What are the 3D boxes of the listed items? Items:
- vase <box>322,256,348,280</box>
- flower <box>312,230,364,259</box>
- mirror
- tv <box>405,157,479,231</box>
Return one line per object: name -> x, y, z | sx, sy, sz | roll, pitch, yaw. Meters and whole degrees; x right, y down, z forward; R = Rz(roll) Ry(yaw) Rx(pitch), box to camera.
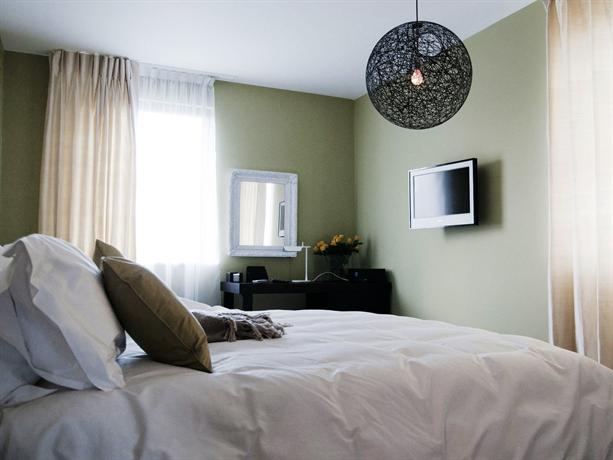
vase -> 0.314, 0.418, 5.589 | 0.218, 0.203, 0.213 | -4, -10, 21
flower -> 0.360, 0.169, 5.696 | 0.597, 0.244, 0.425 | 1, 1, -17
mirror -> -0.494, -0.160, 5.486 | 0.786, 1.134, 0.070 | 2, -5, -29
tv -> 1.212, -0.310, 4.609 | 0.133, 0.582, 0.823 | 0, 1, -25
